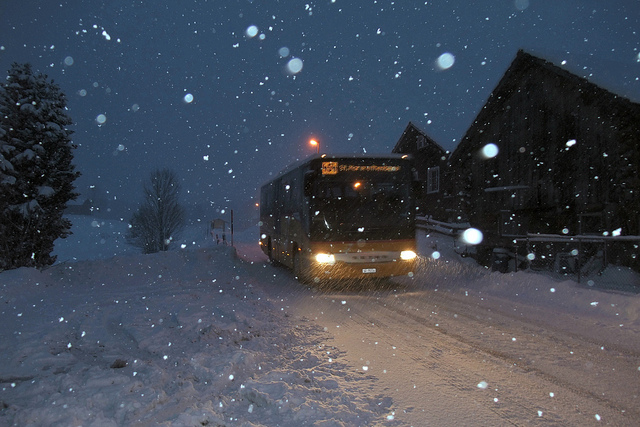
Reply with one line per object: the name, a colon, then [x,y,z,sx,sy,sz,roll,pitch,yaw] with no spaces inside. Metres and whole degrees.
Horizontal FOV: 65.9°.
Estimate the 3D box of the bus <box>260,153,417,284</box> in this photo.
bus: [0.375,0.200,20.065,3.546,5.154,7.088,-4,7,-34]
